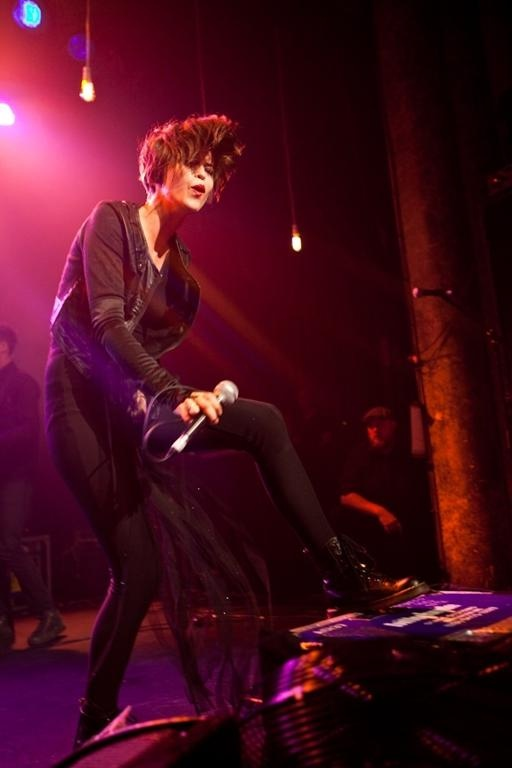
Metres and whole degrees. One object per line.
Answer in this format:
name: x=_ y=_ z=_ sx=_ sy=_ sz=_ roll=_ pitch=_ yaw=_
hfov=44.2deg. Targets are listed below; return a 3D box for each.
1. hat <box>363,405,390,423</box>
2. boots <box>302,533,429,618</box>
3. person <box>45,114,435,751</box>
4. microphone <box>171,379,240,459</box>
hat: x=1.010 y=0.216 z=5.118 sx=0.198 sy=0.072 sz=0.152 roll=-12 pitch=-1 yaw=-35
boots: x=0.295 y=0.517 z=1.691 sx=0.206 sy=0.260 sz=0.354 roll=-3 pitch=-4 yaw=35
person: x=-0.182 y=0.000 z=1.730 sx=0.677 sy=1.729 sz=0.647 roll=1 pitch=-4 yaw=-33
microphone: x=-0.103 y=0.061 z=1.492 sx=0.078 sy=0.078 sz=0.299 roll=-40 pitch=0 yaw=42
